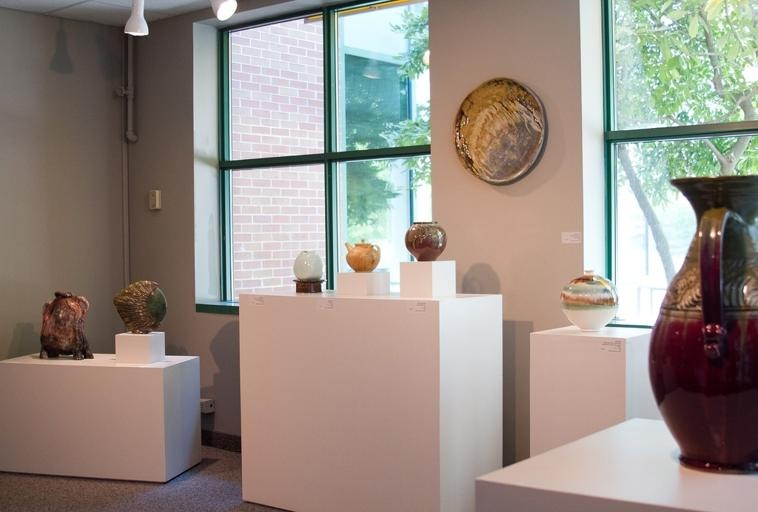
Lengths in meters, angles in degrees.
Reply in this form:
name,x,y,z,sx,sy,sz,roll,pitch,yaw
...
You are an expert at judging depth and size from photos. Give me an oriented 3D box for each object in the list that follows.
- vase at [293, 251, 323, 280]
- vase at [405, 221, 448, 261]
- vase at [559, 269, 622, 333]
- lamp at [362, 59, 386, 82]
name,x,y,z,sx,sy,sz,roll,pitch,yaw
vase,-0.473,0.071,3.714,0.178,0.179,0.181,1,-2,1
vase,0.278,-0.083,3.320,0.252,0.254,0.256,-5,15,-14
vase,1.194,0.254,3.135,0.309,0.353,0.313,-2,2,29
lamp,-0.053,-1.452,4.349,0.168,0.157,0.035,3,11,42
